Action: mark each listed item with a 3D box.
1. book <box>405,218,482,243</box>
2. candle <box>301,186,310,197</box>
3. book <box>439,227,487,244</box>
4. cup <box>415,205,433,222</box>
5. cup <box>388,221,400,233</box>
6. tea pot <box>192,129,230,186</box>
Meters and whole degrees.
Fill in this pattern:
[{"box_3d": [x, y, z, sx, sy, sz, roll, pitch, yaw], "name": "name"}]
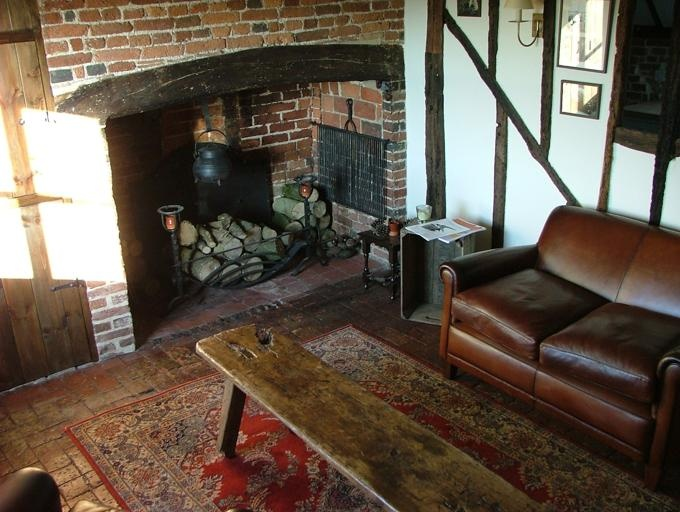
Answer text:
[{"box_3d": [0.867, -0.230, 4.481, 0.357, 0.092, 0.332, -13, 21, -30], "name": "book"}, {"box_3d": [-0.346, -0.643, 5.390, 0.084, 0.132, 0.076, -5, 22, -5], "name": "candle"}, {"box_3d": [0.998, -0.170, 4.376, 0.412, 0.027, 0.149, -19, 38, -20], "name": "book"}, {"box_3d": [0.747, -0.375, 4.758, 0.171, 0.116, 0.161, 0, 13, 0], "name": "cup"}, {"box_3d": [0.494, -0.259, 4.831, 0.116, 0.091, 0.108, -1, 18, 0], "name": "cup"}, {"box_3d": [-1.132, -0.821, 4.710, 0.332, 0.342, 0.244, 1, 22, 9], "name": "tea pot"}]
